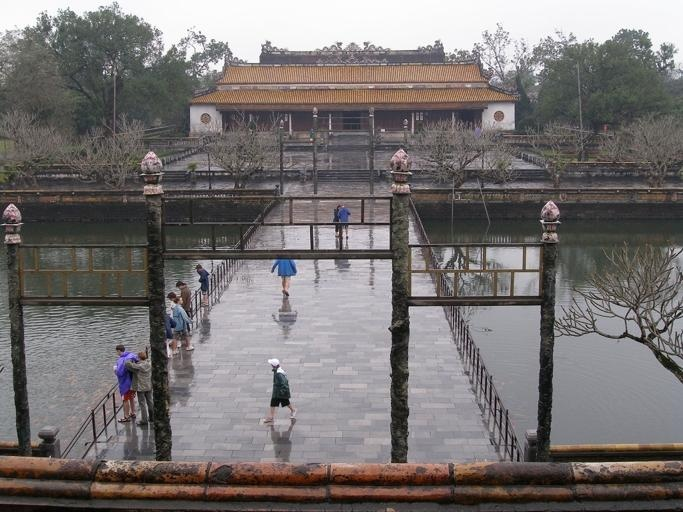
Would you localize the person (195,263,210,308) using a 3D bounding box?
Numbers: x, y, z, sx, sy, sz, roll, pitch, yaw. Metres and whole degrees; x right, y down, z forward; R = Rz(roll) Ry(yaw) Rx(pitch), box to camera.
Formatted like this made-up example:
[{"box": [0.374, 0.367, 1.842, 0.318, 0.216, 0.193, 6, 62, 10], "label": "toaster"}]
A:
[{"box": [-4.210, 0.847, 35.762, 0.335, 1.288, 1.544, -2, 2, -8], "label": "person"}]

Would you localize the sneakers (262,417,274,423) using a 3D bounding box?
[{"box": [-1.897, 4.110, 30.346, 0.277, 0.118, 0.100, 4, 4, 0], "label": "sneakers"}]

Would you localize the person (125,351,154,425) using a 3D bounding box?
[{"box": [-5.148, 3.303, 30.371, 0.594, 1.883, 0.530, -2, 2, -9], "label": "person"}]

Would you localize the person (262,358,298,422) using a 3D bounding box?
[{"box": [-1.606, 3.345, 30.774, 0.795, 1.616, 1.551, -2, 2, 3], "label": "person"}]

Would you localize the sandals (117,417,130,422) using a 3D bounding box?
[{"box": [-5.604, 4.117, 30.524, 0.286, 0.115, 0.104, 5, 11, -5], "label": "sandals"}]
